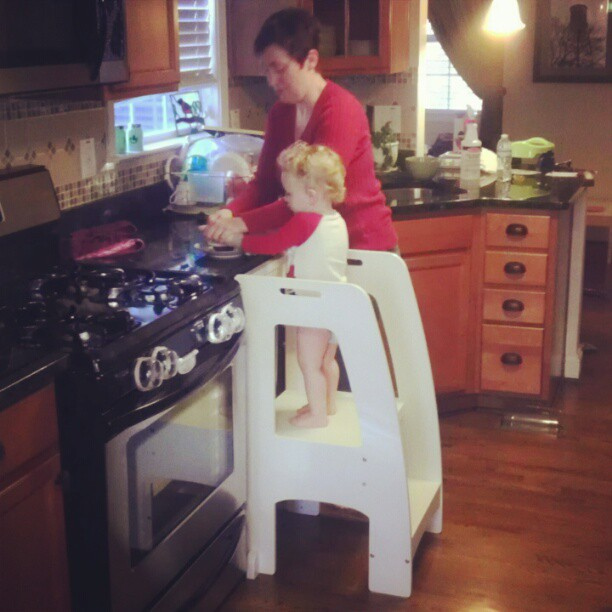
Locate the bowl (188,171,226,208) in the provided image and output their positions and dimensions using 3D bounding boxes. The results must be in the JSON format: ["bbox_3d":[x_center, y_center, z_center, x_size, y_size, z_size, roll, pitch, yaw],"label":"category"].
[{"bbox_3d":[-0.340,-0.410,2.159,0.111,0.103,0.123,1,9,1],"label":"bowl"}]

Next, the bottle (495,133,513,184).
[{"bbox_3d":[0.956,-0.706,2.965,0.070,0.221,0.172,3,14,17],"label":"bottle"}]

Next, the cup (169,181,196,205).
[{"bbox_3d":[-0.444,-0.412,2.243,0.088,0.103,0.090,4,9,-1],"label":"cup"}]

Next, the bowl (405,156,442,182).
[{"bbox_3d":[0.588,-0.694,3.138,0.164,0.119,0.241,-3,15,-9],"label":"bowl"}]

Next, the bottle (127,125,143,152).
[{"bbox_3d":[-0.641,-0.632,2.335,0.056,0.097,0.037,-6,14,-22],"label":"bottle"}]

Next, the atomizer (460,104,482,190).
[{"bbox_3d":[0.796,-0.720,2.967,0.096,0.302,0.212,2,13,14],"label":"atomizer"}]

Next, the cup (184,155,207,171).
[{"bbox_3d":[-0.397,-0.520,2.260,0.057,0.054,0.064,1,10,4],"label":"cup"}]

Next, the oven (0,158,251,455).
[{"bbox_3d":[-0.492,-0.044,1.333,0.527,0.464,0.585,4,15,20],"label":"oven"}]
